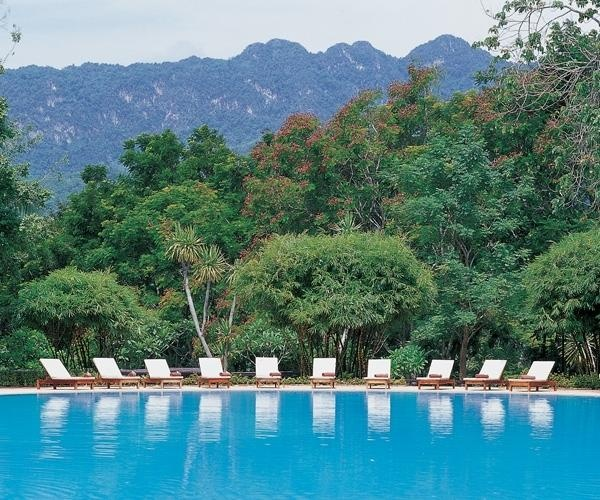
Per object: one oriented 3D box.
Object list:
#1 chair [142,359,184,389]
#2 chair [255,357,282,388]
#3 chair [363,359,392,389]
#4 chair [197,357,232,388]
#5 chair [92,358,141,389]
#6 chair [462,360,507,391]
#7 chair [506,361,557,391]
[{"bbox_3d":[-6.066,5.334,48.581,1.108,1.200,1.597,3,-9,-31],"label":"chair"},{"bbox_3d":[-1.413,5.379,49.319,1.038,1.217,1.378,-1,2,-4],"label":"chair"},{"bbox_3d":[3.381,5.356,48.614,0.878,1.470,1.207,-1,-17,6],"label":"chair"},{"bbox_3d":[-3.865,5.433,49.495,0.942,1.176,1.551,2,-9,-19],"label":"chair"},{"bbox_3d":[-8.004,5.262,47.812,1.954,1.492,1.287,-7,-8,43],"label":"chair"},{"bbox_3d":[8.152,5.384,48.182,1.095,1.366,1.817,-5,-9,37],"label":"chair"},{"bbox_3d":[9.940,5.311,47.166,1.801,1.363,1.127,9,-11,-44],"label":"chair"}]
